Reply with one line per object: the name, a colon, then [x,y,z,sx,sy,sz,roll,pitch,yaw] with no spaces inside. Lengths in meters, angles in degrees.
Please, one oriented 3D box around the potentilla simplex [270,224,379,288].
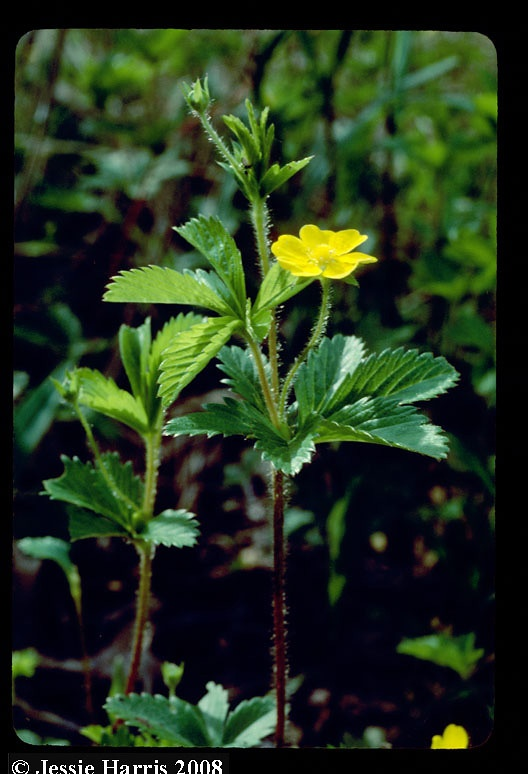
potentilla simplex: [0.072,-0.172,0.991,0.127,0.070,0.063,0,6,-3]
